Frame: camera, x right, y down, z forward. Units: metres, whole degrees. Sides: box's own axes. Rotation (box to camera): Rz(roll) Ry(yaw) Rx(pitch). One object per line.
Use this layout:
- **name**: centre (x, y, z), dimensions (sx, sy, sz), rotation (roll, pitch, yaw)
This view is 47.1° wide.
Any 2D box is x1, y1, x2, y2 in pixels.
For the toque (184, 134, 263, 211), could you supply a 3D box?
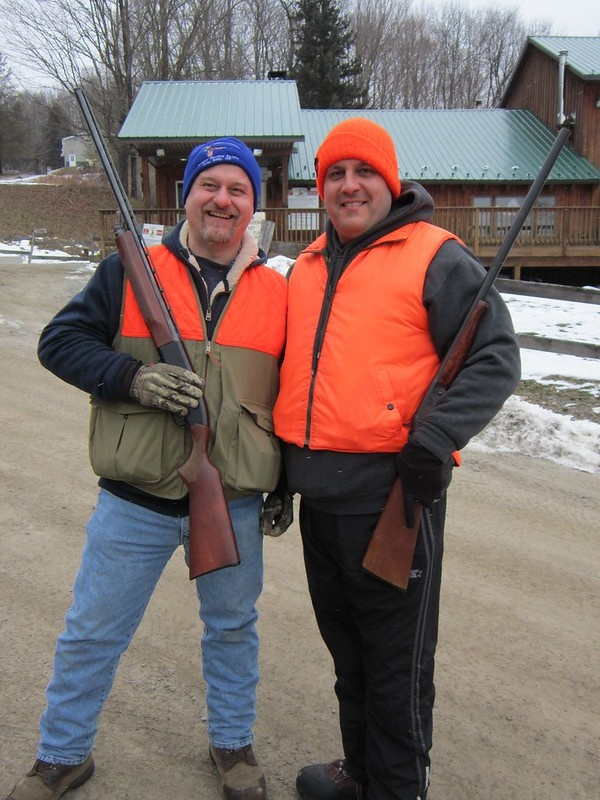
- **toque**: centre (-0.269, -0.798, 2.488), dimensions (0.240, 0.261, 0.276), rotation (8, -25, -3)

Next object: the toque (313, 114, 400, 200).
- **toque**: centre (0.211, -0.809, 2.291), dimensions (0.291, 0.246, 0.237), rotation (-1, 3, -28)

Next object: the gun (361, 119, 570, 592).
- **gun**: centre (0.496, -0.150, 2.016), dimensions (0.272, 1.378, 0.617), rotation (13, 15, 29)

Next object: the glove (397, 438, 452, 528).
- **glove**: centre (0.350, 0.223, 1.973), dimensions (0.113, 0.235, 0.184), rotation (16, 3, 41)

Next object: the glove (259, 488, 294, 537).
- **glove**: centre (-0.073, 0.394, 2.415), dimensions (0.070, 0.155, 0.115), rotation (50, 6, 9)

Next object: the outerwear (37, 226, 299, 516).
- **outerwear**: centre (-0.344, -0.113, 2.404), dimensions (1.076, 0.960, 0.537), rotation (7, 3, -36)
